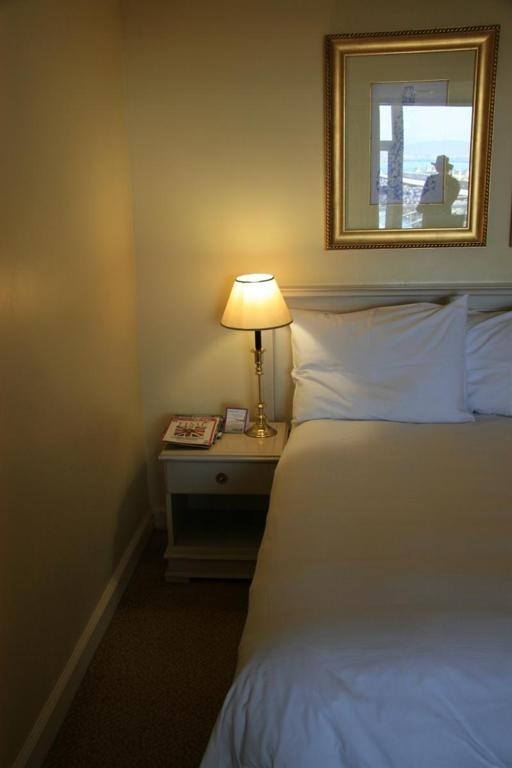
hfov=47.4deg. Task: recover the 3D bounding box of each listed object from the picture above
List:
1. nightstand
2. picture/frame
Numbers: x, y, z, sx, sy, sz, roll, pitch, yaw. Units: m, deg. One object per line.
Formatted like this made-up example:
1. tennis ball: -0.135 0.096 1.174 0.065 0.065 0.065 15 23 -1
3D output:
1. nightstand: -0.096 0.354 1.805 0.340 0.427 0.296 1 15 6
2. picture/frame: 0.358 -0.577 1.339 0.435 0.600 0.031 -2 21 0
